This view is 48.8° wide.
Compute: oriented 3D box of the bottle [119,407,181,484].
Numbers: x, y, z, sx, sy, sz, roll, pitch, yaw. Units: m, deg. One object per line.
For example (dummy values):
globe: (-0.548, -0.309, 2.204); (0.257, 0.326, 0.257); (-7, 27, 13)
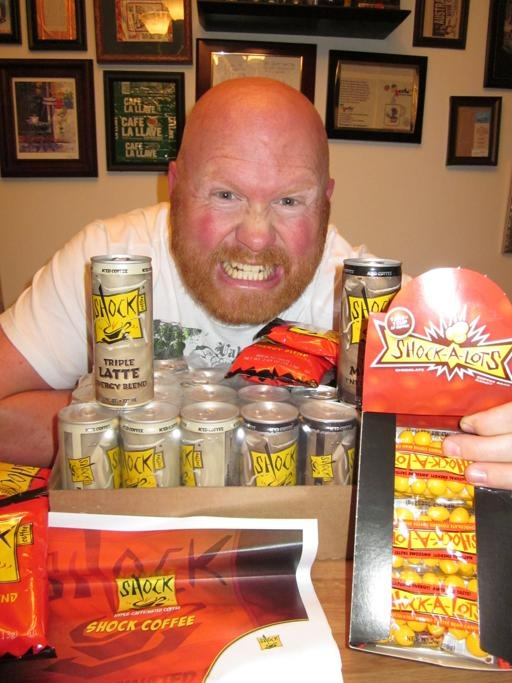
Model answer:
bottle: (-0.124, 0.128, 0.661); (0.063, 0.106, 0.061); (2, 22, -1)

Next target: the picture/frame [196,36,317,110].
picture/frame: (-0.003, -1.014, 2.136); (0.436, 0.031, 0.296); (0, -18, -2)

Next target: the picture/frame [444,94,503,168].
picture/frame: (0.851, -0.845, 2.238); (0.281, 0.317, 0.023); (-4, 20, -10)

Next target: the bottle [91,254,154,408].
bottle: (-0.153, -0.007, 0.653); (0.073, 0.176, 0.030); (-4, 17, -11)

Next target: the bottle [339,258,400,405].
bottle: (0.133, -0.008, 0.671); (0.069, 0.171, 0.046); (1, 17, 8)
